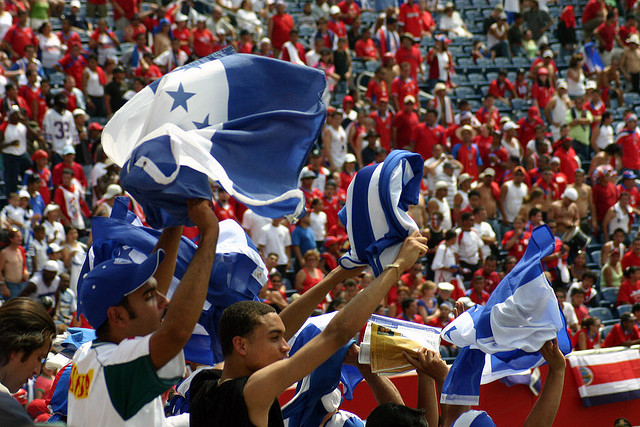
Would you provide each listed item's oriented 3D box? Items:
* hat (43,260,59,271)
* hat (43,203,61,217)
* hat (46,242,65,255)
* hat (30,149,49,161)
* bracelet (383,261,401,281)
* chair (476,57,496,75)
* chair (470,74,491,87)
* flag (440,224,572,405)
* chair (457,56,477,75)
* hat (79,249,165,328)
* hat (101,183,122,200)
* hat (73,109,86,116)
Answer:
[{"bbox_3d":[-3.989,0.782,21.760,0.248,0.181,0.251,1,-6,-13],"label":"hat"},{"bbox_3d":[-4.125,-0.095,22.486,0.149,0.218,0.159,-9,45,-34],"label":"hat"},{"bbox_3d":[-3.994,0.534,21.993,0.167,0.099,0.131,-14,9,22],"label":"hat"},{"bbox_3d":[-4.420,-0.955,23.166,0.220,0.198,0.168,-4,12,29],"label":"hat"},{"bbox_3d":[0.839,0.650,16.366,0.128,0.224,0.195,-6,-29,23],"label":"bracelet"},{"bbox_3d":[2.338,-2.107,20.542,0.181,0.269,0.233,5,29,18],"label":"chair"},{"bbox_3d":[2.351,-1.961,21.509,0.210,0.265,0.187,-2,6,-12],"label":"chair"},{"bbox_3d":[2.200,1.341,16.936,1.636,1.365,1.834,7,-27,-42],"label":"flag"},{"bbox_3d":[2.160,-2.172,21.402,0.215,0.278,0.208,-4,16,-7],"label":"chair"},{"bbox_3d":[-2.233,0.684,16.446,0.548,1.027,0.635,38,8,-18],"label":"hat"},{"bbox_3d":[-3.197,-0.340,22.589,0.236,0.179,0.312,2,5,42],"label":"hat"},{"bbox_3d":[-3.935,-1.668,24.031,0.146,0.061,0.175,6,-1,-17],"label":"hat"}]
